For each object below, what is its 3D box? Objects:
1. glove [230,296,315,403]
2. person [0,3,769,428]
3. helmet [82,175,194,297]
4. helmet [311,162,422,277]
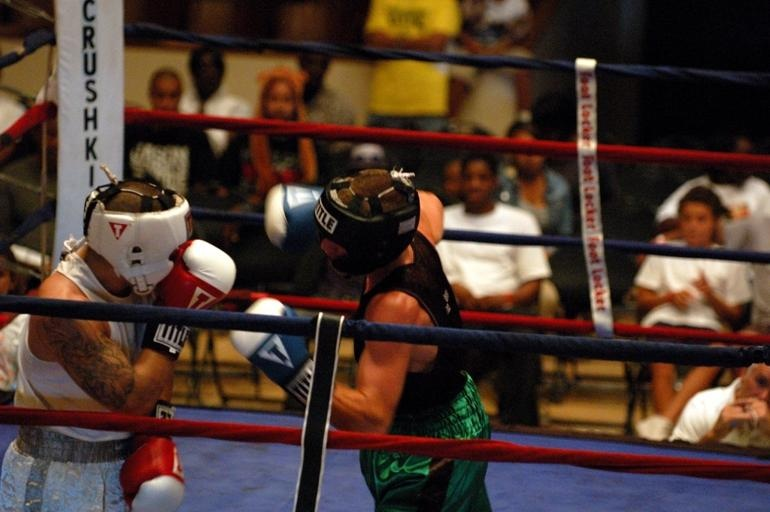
[{"bbox_3d":[-0.455,0.382,3.868,0.387,0.380,0.264,10,15,3],"label":"glove"},{"bbox_3d":[-0.018,-0.180,5.248,3.859,1.134,0.931,4,44,4],"label":"person"},{"bbox_3d":[-1.115,-0.068,4.041,0.460,0.371,0.329,11,17,-20],"label":"helmet"},{"bbox_3d":[-0.052,-0.183,4.059,0.521,0.353,0.383,-24,37,-19],"label":"helmet"}]
